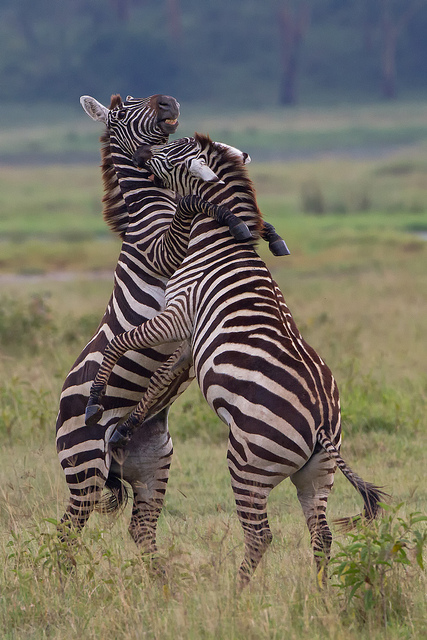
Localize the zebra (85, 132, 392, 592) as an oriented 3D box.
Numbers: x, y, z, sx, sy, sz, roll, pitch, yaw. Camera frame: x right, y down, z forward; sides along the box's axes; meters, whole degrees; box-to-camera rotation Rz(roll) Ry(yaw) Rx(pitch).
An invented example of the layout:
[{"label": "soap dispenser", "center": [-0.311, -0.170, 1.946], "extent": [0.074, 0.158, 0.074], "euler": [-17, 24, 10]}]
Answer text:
[{"label": "zebra", "center": [0.198, 0.145, 4.326], "extent": [1.429, 1.923, 0.748], "euler": [15, 22, 41]}]
